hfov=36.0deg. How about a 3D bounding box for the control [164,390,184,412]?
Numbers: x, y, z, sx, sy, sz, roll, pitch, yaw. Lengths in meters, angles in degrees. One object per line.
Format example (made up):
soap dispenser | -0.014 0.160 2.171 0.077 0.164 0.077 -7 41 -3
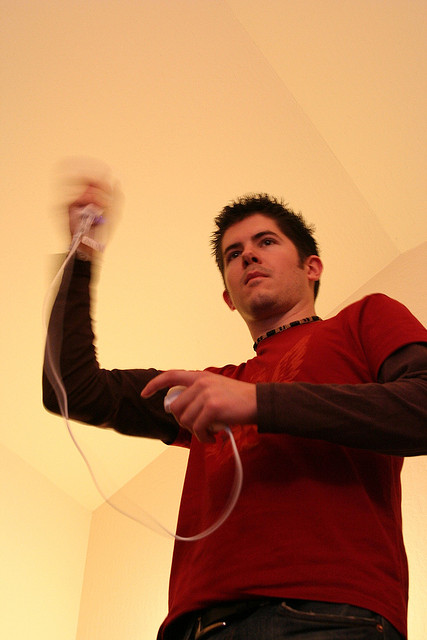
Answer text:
control | -0.078 0.151 1.221 0.030 0.033 0.033 -11 -76 -46

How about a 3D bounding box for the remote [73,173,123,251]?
remote | -0.282 -0.259 1.626 0.112 0.048 0.169 23 -101 -44

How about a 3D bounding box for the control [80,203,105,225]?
control | -0.295 -0.257 1.607 0.049 0.028 0.062 -26 -46 22

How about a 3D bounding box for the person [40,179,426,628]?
person | 0.006 0.041 1.656 0.780 1.500 0.578 -1 -46 -3

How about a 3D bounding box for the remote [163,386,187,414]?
remote | -0.071 0.149 1.222 0.048 0.037 0.043 0 -84 -4
